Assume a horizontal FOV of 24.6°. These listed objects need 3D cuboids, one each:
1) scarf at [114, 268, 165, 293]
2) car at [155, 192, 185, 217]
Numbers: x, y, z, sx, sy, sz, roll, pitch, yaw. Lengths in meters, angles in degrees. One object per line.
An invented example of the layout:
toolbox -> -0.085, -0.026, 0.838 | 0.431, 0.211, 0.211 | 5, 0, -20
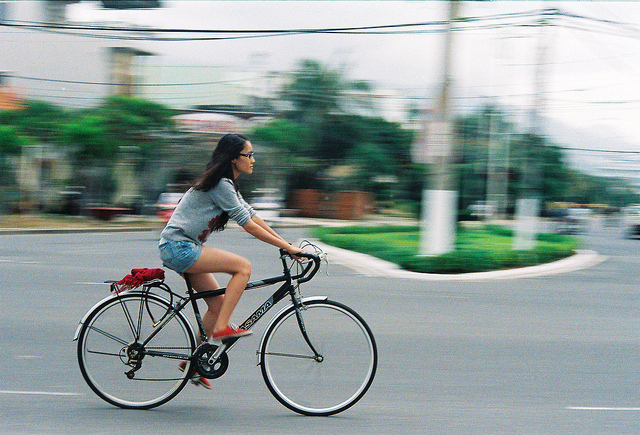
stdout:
scarf -> -4.453, 1.547, 36.601 | 1.128, 0.210, 0.696 | -10, 6, -13
car -> -5.244, -0.439, 50.941 | 1.317, 0.684, 1.734 | 0, 4, -7
